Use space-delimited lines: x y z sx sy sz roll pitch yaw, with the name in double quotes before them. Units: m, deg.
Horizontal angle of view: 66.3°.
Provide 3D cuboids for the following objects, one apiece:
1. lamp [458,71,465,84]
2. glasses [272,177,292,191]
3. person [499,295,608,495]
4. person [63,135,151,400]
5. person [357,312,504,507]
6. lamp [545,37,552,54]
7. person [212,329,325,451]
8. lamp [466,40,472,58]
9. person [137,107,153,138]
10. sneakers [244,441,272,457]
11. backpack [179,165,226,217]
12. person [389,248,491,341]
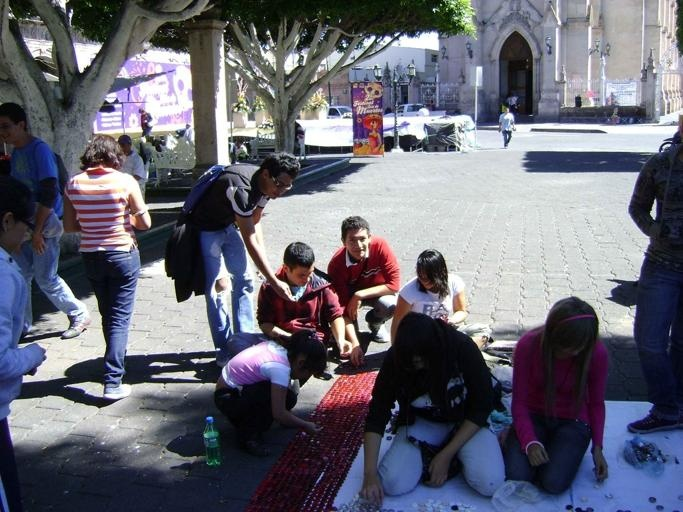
"lamp" 9.268 -13.710 39.984 0.448 1.123 1.058 0 10 14
"glasses" -0.500 -0.580 4.181 0.103 0.111 0.036 10 -39 -41
"person" 1.298 0.833 3.152 0.599 1.146 0.445 2 11 26
"person" -1.882 0.087 4.305 0.636 2.130 0.527 -6 11 -21
"person" 0.544 0.814 3.425 0.836 1.208 1.082 0 12 24
"lamp" 15.282 -15.445 38.467 0.516 1.267 0.176 1 10 17
"person" -0.500 0.953 3.779 0.760 0.860 0.598 11 4 4
"lamp" 9.607 -15.513 39.376 0.396 1.209 0.710 4 12 32
"person" -7.686 -5.264 20.662 0.397 1.292 2.768 -6 11 -20
"sneakers" -0.579 1.315 3.561 0.151 0.068 0.084 5 11 21
"backpack" -1.171 -0.572 4.482 0.415 0.391 0.263 -3 10 -1
"person" 0.833 0.405 4.643 0.908 0.992 0.547 -8 28 2
